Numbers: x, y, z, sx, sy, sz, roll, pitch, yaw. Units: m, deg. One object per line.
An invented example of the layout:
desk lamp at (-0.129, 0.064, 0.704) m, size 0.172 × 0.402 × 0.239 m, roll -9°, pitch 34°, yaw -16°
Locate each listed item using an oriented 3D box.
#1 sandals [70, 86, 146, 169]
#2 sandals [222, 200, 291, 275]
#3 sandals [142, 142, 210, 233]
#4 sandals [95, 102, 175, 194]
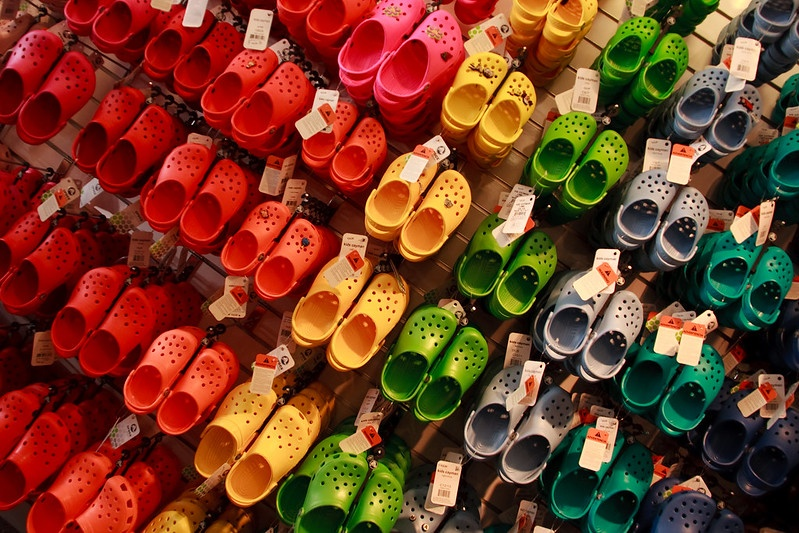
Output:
sandals at (-1.701, -0.801, 3.453) m, size 0.257 × 0.203 × 0.586 m, roll 32°, pitch 98°, yaw 2°
sandals at (-0.783, -0.164, 3.271) m, size 0.243 × 0.153 × 0.522 m, roll 33°, pitch 96°, yaw 10°
sandals at (-1.278, -0.400, 3.350) m, size 0.260 × 0.167 × 0.596 m, roll 28°, pitch 99°, yaw 4°
sandals at (-1.499, -0.698, 3.445) m, size 0.304 × 0.209 × 0.606 m, roll 37°, pitch 94°, yaw -6°
